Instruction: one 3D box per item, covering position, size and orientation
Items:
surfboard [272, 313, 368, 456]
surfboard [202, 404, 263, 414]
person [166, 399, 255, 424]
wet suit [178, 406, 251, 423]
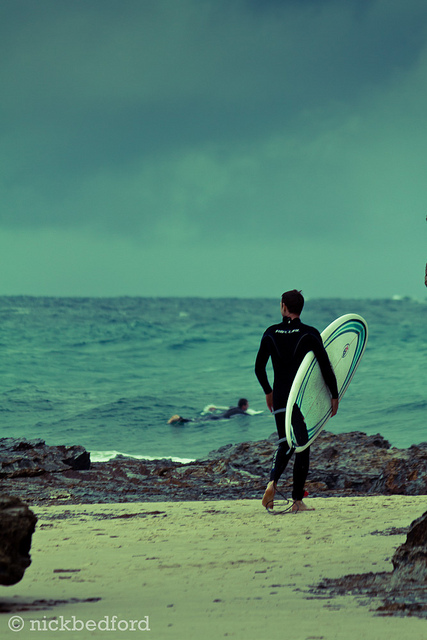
[{"bbox_3d":[0.871,0.453,6.830,0.220,0.471,1.521,1,39,43],"label":"surfboard"},{"bbox_3d":[0.401,2.678,26.178,1.315,0.252,0.674,-1,14,-1],"label":"surfboard"},{"bbox_3d":[0.002,2.544,22.719,1.885,0.620,0.983,-4,-1,-2],"label":"person"},{"bbox_3d":[-0.030,2.448,22.478,1.397,0.204,0.636,-11,5,8],"label":"wet suit"}]
